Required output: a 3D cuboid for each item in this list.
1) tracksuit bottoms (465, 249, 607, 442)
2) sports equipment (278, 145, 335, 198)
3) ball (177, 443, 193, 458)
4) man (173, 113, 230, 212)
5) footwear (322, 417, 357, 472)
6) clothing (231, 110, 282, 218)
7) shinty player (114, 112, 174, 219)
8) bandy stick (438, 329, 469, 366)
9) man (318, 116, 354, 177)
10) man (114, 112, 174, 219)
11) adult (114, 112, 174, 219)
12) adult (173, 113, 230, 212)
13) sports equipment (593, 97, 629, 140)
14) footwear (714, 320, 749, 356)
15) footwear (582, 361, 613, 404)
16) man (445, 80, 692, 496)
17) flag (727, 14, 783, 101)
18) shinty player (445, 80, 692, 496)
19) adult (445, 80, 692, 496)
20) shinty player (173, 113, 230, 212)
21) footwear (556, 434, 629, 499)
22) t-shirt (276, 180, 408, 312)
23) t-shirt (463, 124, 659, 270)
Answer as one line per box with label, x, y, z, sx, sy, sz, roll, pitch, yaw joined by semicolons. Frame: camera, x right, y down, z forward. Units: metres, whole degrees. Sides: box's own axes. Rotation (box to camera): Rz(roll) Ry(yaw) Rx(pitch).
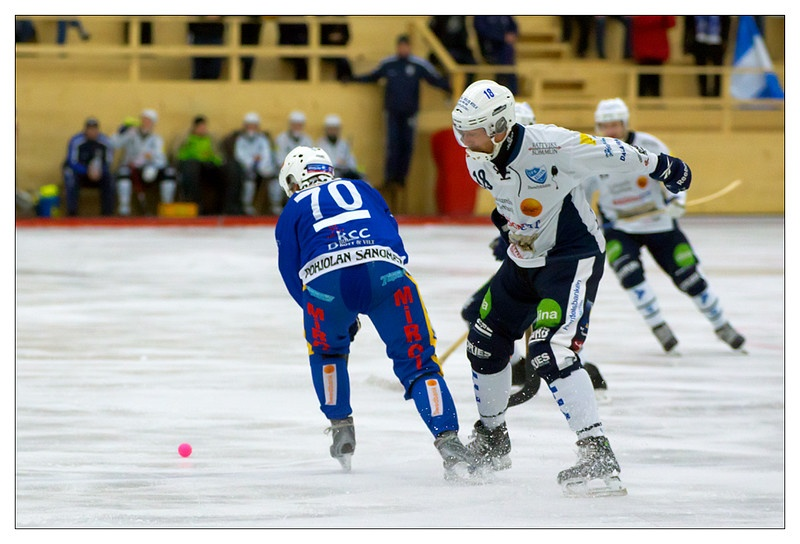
tracksuit bottoms;0.989;0.548;10.210;0.952;0.553;2.229;1;47;11
sports equipment;-0.759;-0.791;10.357;0.287;0.364;0.356;0;-7;-44
ball;-1.709;1.433;10.373;0.104;0.104;0.057;23;-11;4
man;-1.657;-0.856;10.739;0.394;0.785;0.541;-4;10;-9
footwear;-0.460;1.352;10.140;0.156;0.436;0.198;-3;-23;-9
clothing;-2.396;-1.763;21.385;0.783;1.616;0.881;-7;11;-23
shinty player;-2.183;-0.885;11.060;0.480;0.783;1.280;-5;10;-12
bandy stick;0.505;0.740;12.342;0.060;0.060;0.475;-47;-1;-34
man;-1.107;-1.805;22.029;0.600;1.733;0.516;-3;-9;-2
man;-2.184;-0.886;11.062;0.480;0.783;1.285;-5;10;-12
adult;-2.182;-0.885;11.057;0.480;0.783;1.275;-5;10;-12
adult;-1.657;-0.844;10.741;0.394;0.810;0.541;-4;10;-9
sports equipment;2.031;-1.486;12.655;0.330;0.426;0.439;-7;17;23
footwear;3.221;0.627;12.580;0.203;0.351;0.091;-44;9;46
footwear;1.711;0.968;11.233;0.132;0.371;0.270;-24;15;-11
man;1.169;0.087;9.931;1.440;3.088;0.980;-1;10;10
flag;6.720;-4.214;24.811;1.105;2.403;0.282;-4;41;14
shinty player;1.167;0.087;9.931;1.435;3.088;0.980;-1;10;10
adult;1.169;0.087;9.929;1.441;3.088;0.983;-1;10;10
shinty player;-1.657;-0.856;10.738;0.394;0.785;0.539;-4;10;-9
footwear;1.436;1.475;9.740;0.556;0.506;0.341;0;-10;-1
t-shirt;-0.458;-0.250;10.350;1.228;0.704;1.235;-2;47;-13
t-shirt;1.411;-0.614;10.894;1.741;1.095;0.862;-5;24;41
